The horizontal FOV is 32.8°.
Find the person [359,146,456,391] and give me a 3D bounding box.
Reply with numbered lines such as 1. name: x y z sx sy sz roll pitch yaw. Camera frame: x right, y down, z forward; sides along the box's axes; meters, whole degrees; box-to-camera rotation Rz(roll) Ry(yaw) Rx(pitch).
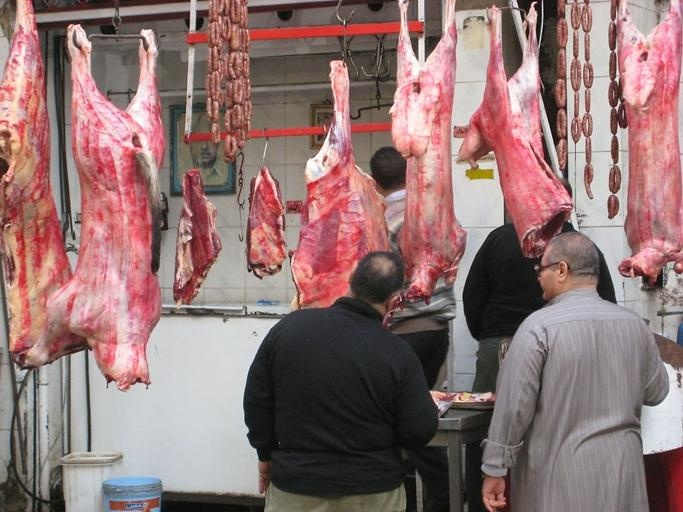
1. person: 0.464 0.180 7.528 0.530 0.716 2.127 -8 -53 2
